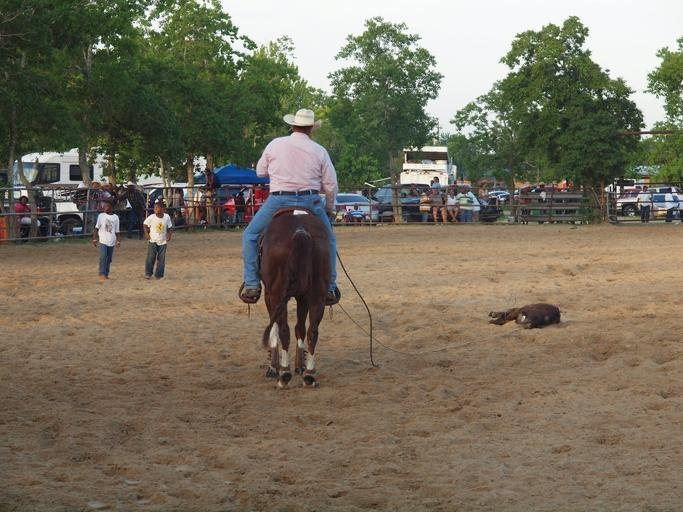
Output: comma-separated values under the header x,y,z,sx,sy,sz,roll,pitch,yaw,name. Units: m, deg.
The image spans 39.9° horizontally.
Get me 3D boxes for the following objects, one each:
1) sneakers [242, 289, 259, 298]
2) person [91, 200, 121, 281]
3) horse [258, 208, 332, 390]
x,y,z,sx,sy,sz,roll,pitch,yaw,name
-1.250,0.506,13.012,0.194,0.055,0.122,-3,-7,0,sneakers
-5.176,-0.388,20.796,0.528,1.792,1.111,-3,16,-13,person
-0.621,0.577,12.594,0.926,2.363,1.090,-1,16,-5,horse
